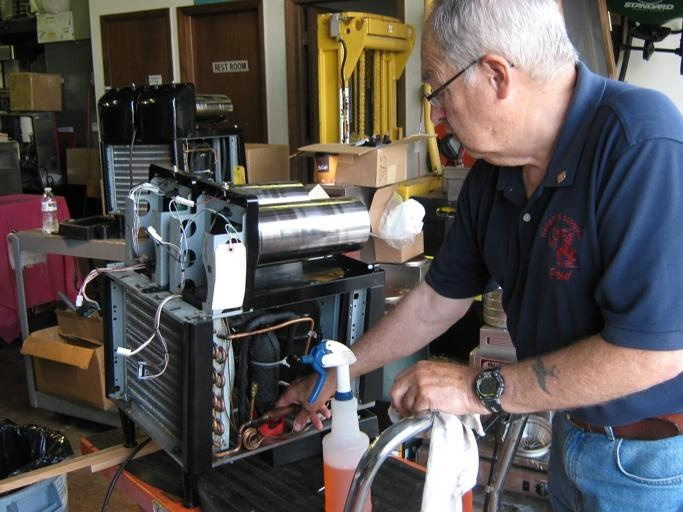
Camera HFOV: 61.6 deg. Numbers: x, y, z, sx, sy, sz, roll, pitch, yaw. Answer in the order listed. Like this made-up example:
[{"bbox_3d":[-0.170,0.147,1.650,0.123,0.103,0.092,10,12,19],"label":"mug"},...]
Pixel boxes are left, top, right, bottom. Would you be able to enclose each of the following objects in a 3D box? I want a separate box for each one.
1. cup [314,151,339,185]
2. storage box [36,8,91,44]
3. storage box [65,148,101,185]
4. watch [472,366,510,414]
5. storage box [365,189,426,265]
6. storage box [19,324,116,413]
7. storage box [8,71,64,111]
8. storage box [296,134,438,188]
[{"bbox_3d":[-0.073,-0.422,2.760,0.127,0.156,0.128,0,-1,0],"label":"cup"},{"bbox_3d":[-3.266,-2.627,6.735,0.436,0.308,0.459,7,15,32],"label":"storage box"},{"bbox_3d":[-2.925,-1.019,6.490,0.478,0.477,0.265,10,13,37],"label":"storage box"},{"bbox_3d":[0.305,0.281,1.198,0.065,0.079,0.060,-1,14,-1],"label":"watch"},{"bbox_3d":[0.257,-0.133,2.729,0.191,0.299,0.250,7,15,23],"label":"storage box"},{"bbox_3d":[-1.541,0.670,3.297,0.451,0.321,0.351,3,-9,24],"label":"storage box"},{"bbox_3d":[-3.473,-1.855,6.495,0.534,0.417,0.323,-10,17,-31],"label":"storage box"},{"bbox_3d":[0.063,-0.438,2.814,0.504,0.185,0.550,-1,7,20],"label":"storage box"}]
